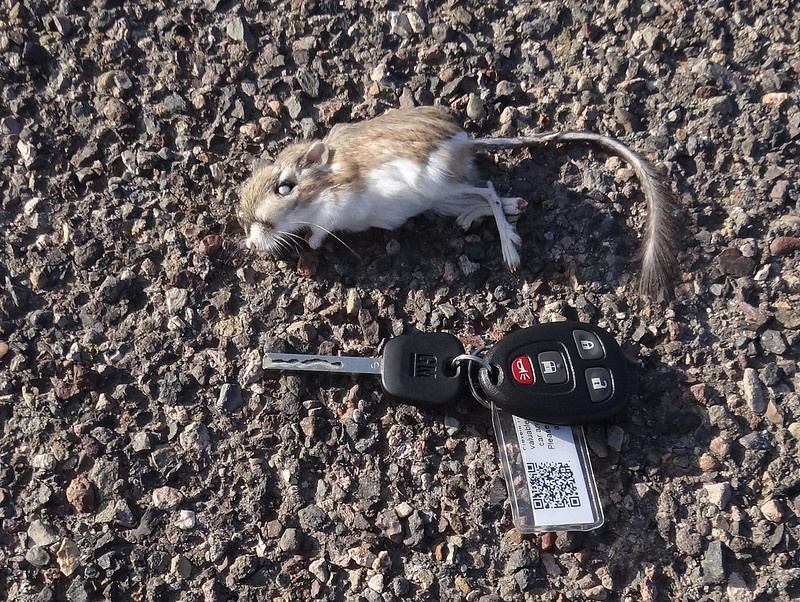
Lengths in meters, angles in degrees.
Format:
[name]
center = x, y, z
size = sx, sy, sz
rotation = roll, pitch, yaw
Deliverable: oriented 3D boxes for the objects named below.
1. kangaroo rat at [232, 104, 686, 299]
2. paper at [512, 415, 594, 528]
[kangaroo rat]
center = 0.241, -0.468, 4.155
size = 1.919, 0.321, 0.706
rotation = 6, 83, 6
[paper]
center = 0.649, 0.693, 3.986
size = 0.270, 0.062, 0.491
rotation = -12, 82, 3
